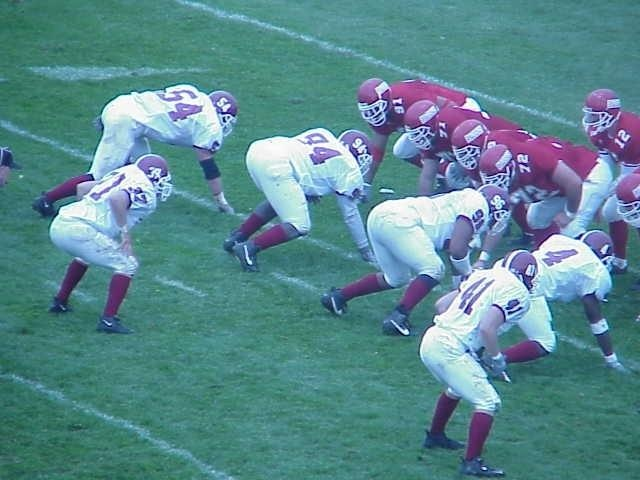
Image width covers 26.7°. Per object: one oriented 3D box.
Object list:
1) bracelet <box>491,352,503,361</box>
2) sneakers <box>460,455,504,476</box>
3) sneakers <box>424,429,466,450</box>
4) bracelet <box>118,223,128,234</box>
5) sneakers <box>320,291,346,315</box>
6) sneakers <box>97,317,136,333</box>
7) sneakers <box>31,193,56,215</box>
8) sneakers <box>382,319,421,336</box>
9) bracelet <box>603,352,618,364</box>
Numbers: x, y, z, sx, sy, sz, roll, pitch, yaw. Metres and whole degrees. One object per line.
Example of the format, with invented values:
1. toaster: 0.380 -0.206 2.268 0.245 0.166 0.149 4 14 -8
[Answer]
1. bracelet: 1.591 1.059 12.150 0.094 0.062 0.078 -4 6 -14
2. sneakers: 1.415 2.024 12.025 0.495 0.149 0.135 0 18 0
3. sneakers: 1.173 1.830 12.275 0.465 0.148 0.127 0 23 -6
4. bracelet: -1.898 -0.106 13.046 0.105 0.077 0.076 28 23 13
5. sneakers: 0.137 0.646 13.479 0.186 0.184 0.154 55 31 -16
6. sneakers: -2.014 0.849 13.102 0.429 0.139 0.118 6 37 -16
7. sneakers: -2.971 -0.372 14.480 0.178 0.174 0.183 37 -5 44
8. sneakers: 0.796 0.874 13.319 0.330 0.107 0.151 7 -10 2
9. bracelet: 2.823 1.163 13.087 0.141 0.084 0.099 -5 3 16
